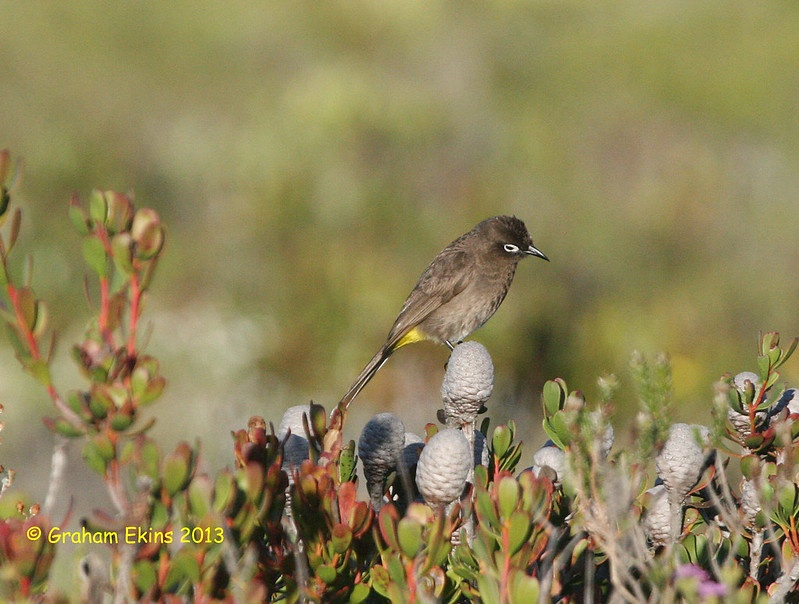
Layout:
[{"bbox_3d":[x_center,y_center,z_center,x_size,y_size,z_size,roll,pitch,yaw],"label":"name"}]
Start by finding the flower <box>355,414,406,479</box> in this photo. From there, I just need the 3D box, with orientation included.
[{"bbox_3d":[-0.058,0.508,3.970,0.190,0.213,0.166,4,-19,-12],"label":"flower"}]

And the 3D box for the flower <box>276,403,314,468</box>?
[{"bbox_3d":[-0.394,0.481,4.014,0.112,0.233,0.080,-2,-13,11],"label":"flower"}]

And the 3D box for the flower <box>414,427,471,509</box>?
[{"bbox_3d":[0.151,0.569,3.759,0.170,0.256,0.190,9,-21,-26],"label":"flower"}]

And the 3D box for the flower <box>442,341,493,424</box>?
[{"bbox_3d":[0.252,0.299,4.089,0.188,0.320,0.189,-1,-19,2],"label":"flower"}]
